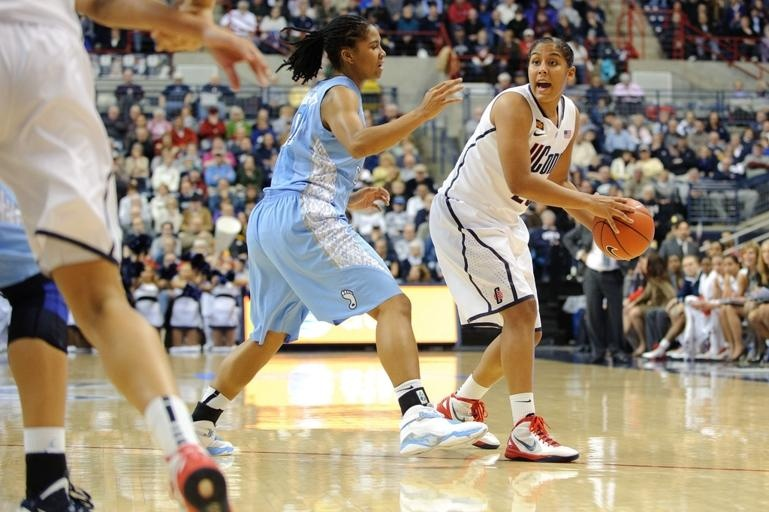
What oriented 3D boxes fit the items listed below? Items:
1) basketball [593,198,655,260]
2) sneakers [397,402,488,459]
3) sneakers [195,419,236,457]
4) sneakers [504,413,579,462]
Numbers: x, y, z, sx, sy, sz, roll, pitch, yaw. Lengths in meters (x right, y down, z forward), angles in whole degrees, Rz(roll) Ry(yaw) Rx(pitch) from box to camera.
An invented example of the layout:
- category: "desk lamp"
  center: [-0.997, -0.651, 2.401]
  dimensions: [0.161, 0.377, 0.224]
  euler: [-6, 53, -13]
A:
- category: "basketball"
  center: [1.475, -0.199, 6.240]
  dimensions: [0.360, 0.403, 0.347]
  euler: [-10, 12, -30]
- category: "sneakers"
  center: [0.285, 0.989, 5.787]
  dimensions: [0.591, 0.298, 0.212]
  euler: [-10, -2, 9]
- category: "sneakers"
  center: [-1.029, 1.089, 5.979]
  dimensions: [0.324, 0.232, 0.115]
  euler: [8, -10, -19]
- category: "sneakers"
  center: [0.919, 1.078, 5.929]
  dimensions: [0.481, 0.266, 0.178]
  euler: [-3, -6, 45]
